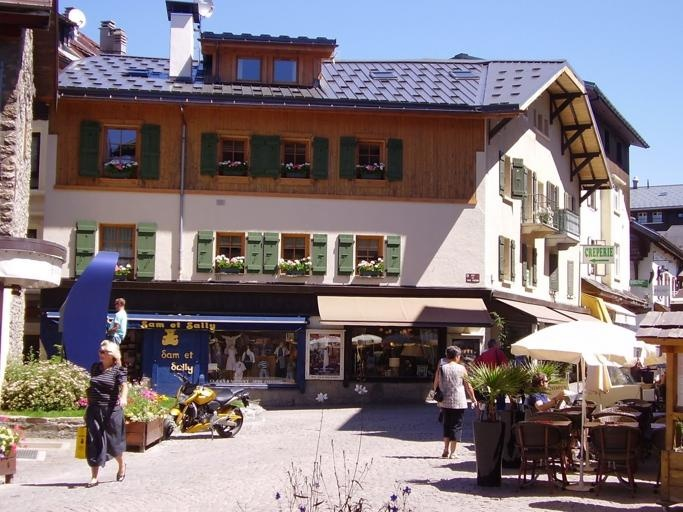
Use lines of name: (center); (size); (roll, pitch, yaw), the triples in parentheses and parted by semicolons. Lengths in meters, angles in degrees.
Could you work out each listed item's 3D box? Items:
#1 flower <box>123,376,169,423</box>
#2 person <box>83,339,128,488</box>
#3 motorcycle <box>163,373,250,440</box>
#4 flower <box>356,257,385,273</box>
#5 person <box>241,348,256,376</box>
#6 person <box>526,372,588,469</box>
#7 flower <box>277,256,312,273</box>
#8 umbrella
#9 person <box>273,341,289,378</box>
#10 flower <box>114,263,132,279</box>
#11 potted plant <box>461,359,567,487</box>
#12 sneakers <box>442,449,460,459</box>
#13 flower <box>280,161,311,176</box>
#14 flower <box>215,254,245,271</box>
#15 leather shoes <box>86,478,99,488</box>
flower: (-4.396, 3.330, 19.982); (1.087, 0.691, 1.094); (0, 0, -9)
person: (-4.194, 2.791, 15.960); (0.690, 2.525, 0.594); (3, -7, -16)
motorcycle: (-3.175, 3.604, 21.270); (1.229, 1.456, 1.769); (-4, -8, 32)
flower: (1.132, 0.366, 31.489); (0.594, 0.351, 0.558); (1, 2, 31)
person: (-3.177, 3.640, 30.799); (0.440, 1.027, 0.128); (2, -7, -14)
person: (4.380, 3.315, 18.697); (0.929, 1.670, 0.911); (2, 7, 32)
flower: (-1.570, 0.336, 31.145); (1.132, 0.638, 0.235); (2, -7, -11)
umbrella: (4.905, 2.848, 18.443); (2.704, 3.245, 2.799); (-1, -4, 37)
person: (-2.025, 3.588, 30.944); (0.457, 1.262, 0.122); (0, -6, 4)
flower: (-7.453, 0.545, 30.640); (0.506, 0.421, 0.541); (-1, -1, 14)
potted plant: (3.461, 3.263, 18.085); (1.938, 3.808, 2.264); (1, -7, 0)
sneakers: (2.325, 4.208, 18.942); (0.173, 0.133, 0.478); (-1, -7, -3)
flower: (-1.565, -3.013, 31.593); (1.034, 0.563, 0.231); (0, -6, 5)
flower: (-3.807, 0.285, 30.839); (1.012, 0.576, 0.288); (2, -7, -12)
leather shoes: (-4.343, 3.964, 15.644); (0.170, 0.146, 0.336); (3, -7, -17)
